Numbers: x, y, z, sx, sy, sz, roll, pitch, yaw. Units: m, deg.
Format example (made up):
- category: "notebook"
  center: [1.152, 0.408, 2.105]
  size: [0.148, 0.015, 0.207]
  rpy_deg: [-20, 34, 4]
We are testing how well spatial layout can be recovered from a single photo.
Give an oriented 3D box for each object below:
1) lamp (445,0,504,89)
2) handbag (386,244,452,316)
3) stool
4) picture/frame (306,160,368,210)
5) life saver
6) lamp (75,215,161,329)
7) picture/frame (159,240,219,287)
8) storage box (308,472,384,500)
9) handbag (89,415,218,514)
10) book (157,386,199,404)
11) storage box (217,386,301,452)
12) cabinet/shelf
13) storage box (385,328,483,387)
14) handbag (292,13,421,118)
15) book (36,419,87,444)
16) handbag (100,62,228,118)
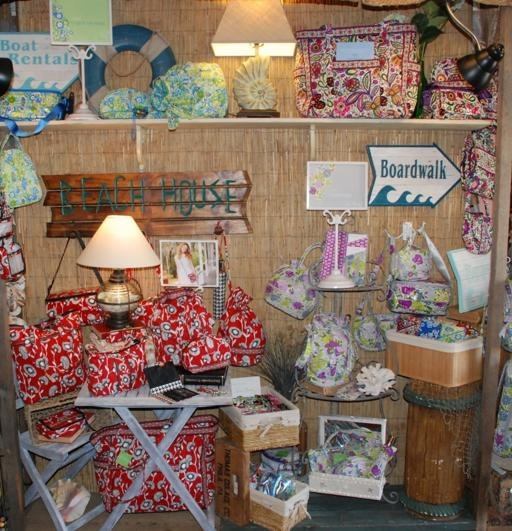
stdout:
- category: "lamp"
  center: [0.971, -1.021, 2.484]
  size: [0.287, 0.403, 0.196]
  rpy_deg: [7, 19, 37]
- category: "handbag"
  center: [0.826, 0.041, 2.965]
  size: [0.361, 0.365, 0.353]
  rpy_deg: [-4, 8, -44]
- category: "stool"
  center: [0.927, 0.898, 2.794]
  size: [0.370, 0.671, 0.313]
  rpy_deg: [0, 16, 16]
- category: "picture/frame"
  center: [0.436, -0.477, 3.064]
  size: [0.292, 0.220, 0.020]
  rpy_deg: [0, 4, -3]
- category: "life saver"
  center: [-0.683, -1.076, 2.959]
  size: [0.478, 0.457, 0.111]
  rpy_deg: [3, 18, -4]
- category: "lamp"
  center: [-0.700, 0.014, 2.818]
  size: [0.417, 0.549, 0.417]
  rpy_deg: [-2, 7, -44]
- category: "picture/frame"
  center: [-0.361, -0.040, 3.095]
  size: [0.281, 0.198, 0.011]
  rpy_deg: [0, 7, 5]
- category: "storage box"
  center: [0.439, 1.078, 2.734]
  size: [0.371, 0.110, 0.074]
  rpy_deg: [-1, 15, 8]
- category: "handbag"
  center: [-0.485, 0.971, 2.715]
  size: [0.644, 0.417, 0.245]
  rpy_deg: [0, -1, -3]
- category: "book"
  center: [-0.348, 0.569, 2.465]
  size: [0.155, 0.020, 0.128]
  rpy_deg: [-15, 19, -38]
- category: "storage box"
  center: [0.003, 0.754, 2.827]
  size: [0.314, 0.176, 0.435]
  rpy_deg: [-2, 7, -23]
- category: "cabinet/shelf"
  center: [0.228, 0.267, 3.077]
  size: [0.784, 0.840, 0.766]
  rpy_deg: [0, 1, -8]
- category: "storage box"
  center: [0.922, 0.364, 2.751]
  size: [0.275, 0.195, 0.381]
  rpy_deg: [-4, 8, -37]
- category: "handbag"
  center: [0.513, -1.039, 2.889]
  size: [0.657, 0.463, 0.248]
  rpy_deg: [-1, 30, 7]
- category: "book"
  center: [-0.926, 0.799, 2.684]
  size: [0.112, 0.037, 0.114]
  rpy_deg: [5, 7, 25]
- category: "handbag"
  center: [-0.463, -0.890, 2.848]
  size: [0.513, 0.196, 0.353]
  rpy_deg: [-8, 17, 5]
